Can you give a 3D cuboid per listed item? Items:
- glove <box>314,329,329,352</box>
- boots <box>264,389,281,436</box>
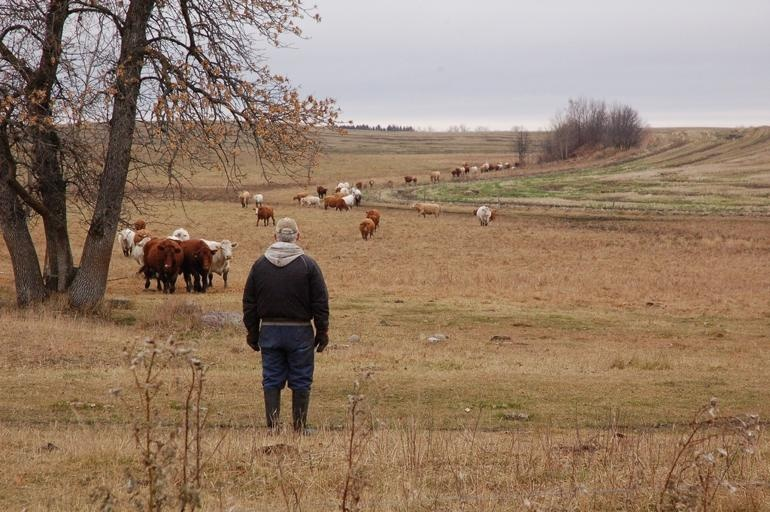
[{"bbox_3d":[-2.154,2.877,46.805,0.524,0.713,0.254,4,4,0],"label":"glove"},{"bbox_3d":[-3.774,5.102,46.410,0.524,1.430,0.517,0,2,-9],"label":"boots"}]
